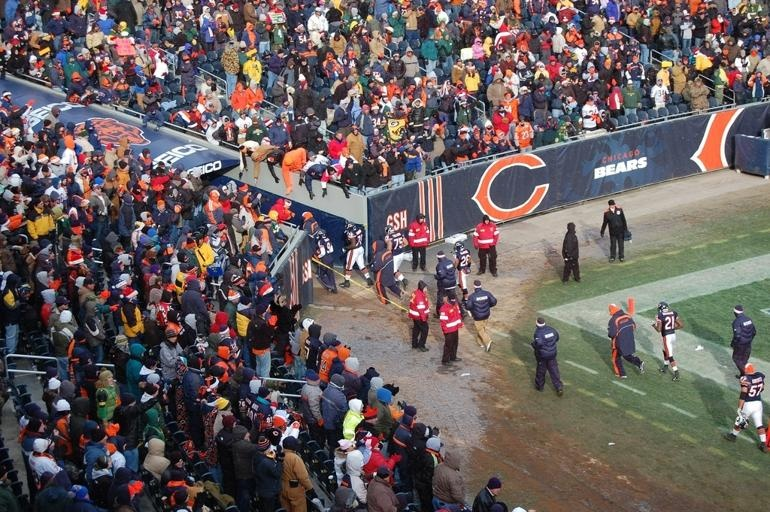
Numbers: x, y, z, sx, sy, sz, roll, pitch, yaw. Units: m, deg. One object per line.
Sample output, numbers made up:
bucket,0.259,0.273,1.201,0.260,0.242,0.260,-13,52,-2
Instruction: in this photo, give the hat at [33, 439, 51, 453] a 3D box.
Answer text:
hat,-8.214,4.550,25.972,0.402,0.388,0.336,-7,6,-20

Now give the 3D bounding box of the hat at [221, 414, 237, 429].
hat,-3.816,4.099,26.694,0.330,0.277,0.239,-9,32,-13

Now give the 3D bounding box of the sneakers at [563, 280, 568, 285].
sneakers,6.347,0.896,37.890,0.207,0.167,0.108,-7,6,-22

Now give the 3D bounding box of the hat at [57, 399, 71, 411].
hat,-7.950,3.724,26.964,0.253,0.275,0.314,11,32,23

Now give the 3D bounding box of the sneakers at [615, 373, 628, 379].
sneakers,7.198,3.648,32.943,0.296,0.137,0.133,5,10,44

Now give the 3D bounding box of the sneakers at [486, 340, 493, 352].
sneakers,3.329,2.877,34.344,0.172,0.386,0.143,16,41,18

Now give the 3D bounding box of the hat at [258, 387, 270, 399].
hat,-3.031,3.453,27.622,0.214,0.297,0.419,-3,6,20

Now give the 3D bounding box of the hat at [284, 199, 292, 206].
hat,-3.305,-1.841,36.969,0.302,0.141,0.428,24,-17,1

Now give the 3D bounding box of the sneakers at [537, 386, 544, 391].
sneakers,4.658,3.991,32.464,0.114,0.192,0.198,15,-3,41

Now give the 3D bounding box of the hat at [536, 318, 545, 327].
hat,4.525,1.894,31.607,0.217,0.223,0.225,-14,44,-11

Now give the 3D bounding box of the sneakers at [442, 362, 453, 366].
sneakers,1.966,3.333,33.638,0.297,0.130,0.126,1,20,15

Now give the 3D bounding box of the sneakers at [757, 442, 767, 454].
sneakers,10.496,5.343,30.107,0.102,0.213,0.304,-15,32,4

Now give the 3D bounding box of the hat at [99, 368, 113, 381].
hat,-7.095,3.031,27.580,0.307,0.236,0.220,-20,17,-33

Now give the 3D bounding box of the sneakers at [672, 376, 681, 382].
sneakers,8.798,3.705,32.691,0.184,0.187,0.061,9,1,4

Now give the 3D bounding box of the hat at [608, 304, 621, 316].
hat,7.027,1.660,33.150,0.254,0.348,0.309,-15,41,-5

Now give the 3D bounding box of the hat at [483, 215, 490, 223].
hat,3.552,-1.286,37.801,0.209,0.275,0.276,2,14,6

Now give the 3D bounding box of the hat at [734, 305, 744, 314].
hat,10.444,1.570,31.978,0.226,0.300,0.451,-3,6,19

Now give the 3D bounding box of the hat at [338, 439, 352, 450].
hat,-0.944,4.681,26.879,0.326,0.268,0.300,-5,5,-3

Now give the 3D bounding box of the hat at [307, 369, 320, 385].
hat,-1.880,3.212,28.815,0.408,0.306,0.286,-15,25,-41

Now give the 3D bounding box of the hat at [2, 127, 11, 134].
hat,-12.963,-4.336,37.187,0.372,0.121,0.359,-23,26,-39

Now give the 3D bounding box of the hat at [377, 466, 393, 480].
hat,0.009,5.261,26.115,0.396,0.365,0.253,-7,6,-20

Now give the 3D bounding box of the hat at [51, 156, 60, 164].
hat,-11.158,-3.301,36.810,0.247,0.214,0.255,5,26,45

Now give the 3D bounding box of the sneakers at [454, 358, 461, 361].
sneakers,2.294,3.230,33.860,0.186,0.080,0.063,-6,48,-1

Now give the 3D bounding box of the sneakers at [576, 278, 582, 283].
sneakers,6.798,0.835,37.947,0.135,0.149,0.134,-4,5,5

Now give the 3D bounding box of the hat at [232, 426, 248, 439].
hat,-3.531,4.343,26.533,0.328,0.258,0.265,-21,29,14

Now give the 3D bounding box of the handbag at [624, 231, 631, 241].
handbag,8.627,-0.726,38.554,0.227,0.090,0.325,0,32,10

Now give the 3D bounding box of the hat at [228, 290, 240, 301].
hat,-4.319,1.134,31.396,0.318,0.261,0.320,-10,8,22

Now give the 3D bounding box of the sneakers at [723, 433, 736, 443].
sneakers,9.679,5.099,30.446,0.177,0.250,0.336,-18,35,-27

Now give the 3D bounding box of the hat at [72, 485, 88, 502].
hat,-7.005,5.497,25.046,0.276,0.328,0.371,5,12,-37

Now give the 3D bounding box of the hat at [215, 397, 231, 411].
hat,-4.087,3.758,27.344,0.312,0.265,0.249,-7,-25,43

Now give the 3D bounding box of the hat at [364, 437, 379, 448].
hat,-0.323,4.628,26.859,0.301,0.308,0.114,-8,6,-26

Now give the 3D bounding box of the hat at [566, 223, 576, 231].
hat,6.496,-1.033,37.727,0.249,0.259,0.235,-4,35,41

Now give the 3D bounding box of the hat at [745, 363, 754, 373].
hat,10.079,3.115,29.939,0.178,0.216,0.241,11,43,28

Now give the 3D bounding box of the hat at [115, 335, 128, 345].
hat,-7.131,2.278,29.387,0.292,0.270,0.355,-7,5,-17

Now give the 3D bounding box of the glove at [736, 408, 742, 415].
glove,9.927,4.368,30.310,0.154,0.213,0.076,6,1,19

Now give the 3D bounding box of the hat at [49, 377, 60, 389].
hat,-8.307,3.220,27.363,0.303,0.261,0.228,-7,6,-23

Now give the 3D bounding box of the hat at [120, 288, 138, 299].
hat,-7.286,1.060,30.917,0.431,0.362,0.359,-5,5,-4

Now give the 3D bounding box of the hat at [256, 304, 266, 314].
hat,-3.500,1.500,30.717,0.202,0.213,0.277,9,30,24

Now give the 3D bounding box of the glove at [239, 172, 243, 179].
glove,-5.310,-3.010,40.189,0.088,0.257,0.103,4,0,12

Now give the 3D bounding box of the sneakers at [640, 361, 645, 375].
sneakers,7.831,3.421,32.961,0.167,0.136,0.406,2,-30,14

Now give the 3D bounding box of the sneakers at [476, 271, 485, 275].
sneakers,3.436,0.577,38.682,0.221,0.178,0.107,4,28,2

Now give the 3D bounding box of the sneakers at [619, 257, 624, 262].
sneakers,8.558,0.116,39.165,0.111,0.156,0.149,-2,-15,15

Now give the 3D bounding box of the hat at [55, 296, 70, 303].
hat,-9.021,1.227,30.297,0.297,0.202,0.330,-8,6,-29

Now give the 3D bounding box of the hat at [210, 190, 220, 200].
hat,-5.536,-1.981,35.458,0.286,0.322,0.309,-13,54,-9

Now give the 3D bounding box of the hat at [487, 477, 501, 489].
hat,2.667,5.491,26.113,0.343,0.288,0.255,-7,24,-5
